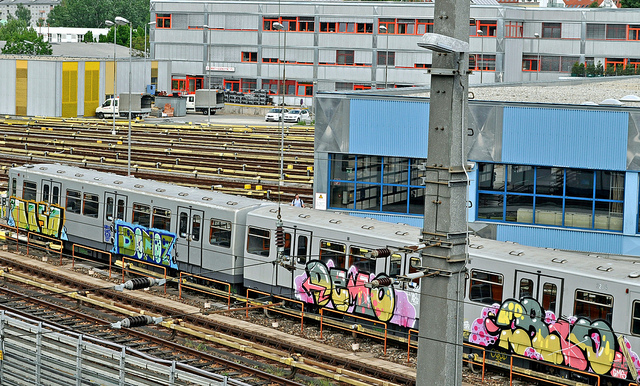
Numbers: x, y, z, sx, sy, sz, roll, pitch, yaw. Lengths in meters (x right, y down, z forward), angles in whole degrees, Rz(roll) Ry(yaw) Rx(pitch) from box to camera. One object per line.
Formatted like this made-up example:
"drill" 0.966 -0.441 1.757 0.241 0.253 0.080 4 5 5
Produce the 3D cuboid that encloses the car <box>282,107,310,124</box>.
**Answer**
"car" -2.046 -7.927 121.837 2.078 1.435 3.287 3 4 28

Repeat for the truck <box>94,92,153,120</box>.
"truck" -20.316 -8.743 121.350 5.376 2.457 2.379 1 2 4

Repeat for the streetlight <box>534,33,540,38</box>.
"streetlight" 23.139 -16.724 126.985 0.504 0.466 0.364 -1 15 8

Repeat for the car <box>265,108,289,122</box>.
"car" -4.624 -8.052 123.276 1.200 0.962 2.687 2 4 20

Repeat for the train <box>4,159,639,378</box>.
"train" 0.678 4.360 63.726 34.206 4.523 4.010 14 16 28

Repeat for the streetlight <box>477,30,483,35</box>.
"streetlight" 16.668 -16.731 124.252 0.550 0.328 0.540 1 2 1

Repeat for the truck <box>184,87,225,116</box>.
"truck" -13.024 -9.849 130.488 4.992 2.663 2.402 3 2 26
